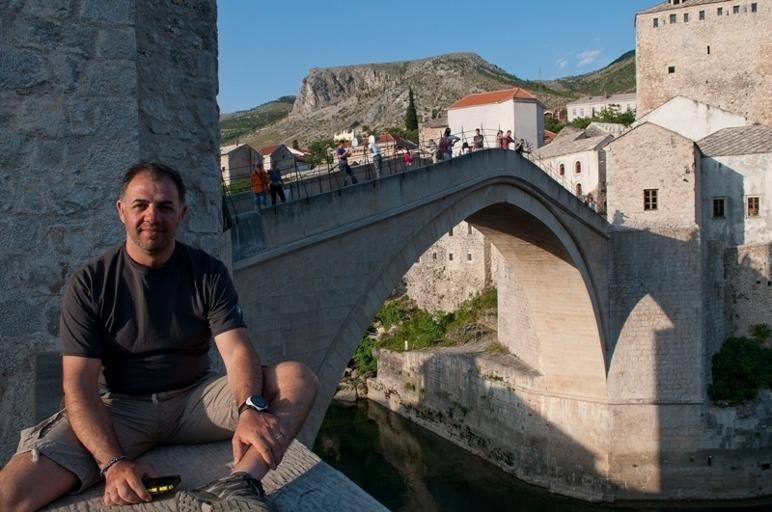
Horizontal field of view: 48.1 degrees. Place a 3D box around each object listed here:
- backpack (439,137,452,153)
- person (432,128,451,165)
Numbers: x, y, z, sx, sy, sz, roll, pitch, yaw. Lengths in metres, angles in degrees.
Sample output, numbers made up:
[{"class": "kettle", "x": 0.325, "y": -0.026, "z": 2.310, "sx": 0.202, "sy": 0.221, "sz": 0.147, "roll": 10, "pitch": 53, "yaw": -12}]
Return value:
[{"class": "backpack", "x": 1.199, "y": -2.195, "z": 17.169, "sx": 0.337, "sy": 0.321, "sz": 0.195, "roll": 2, "pitch": 16, "yaw": 7}, {"class": "person", "x": 1.217, "y": -2.140, "z": 17.351, "sx": 0.342, "sy": 0.888, "sz": 0.252, "roll": -4, "pitch": 38, "yaw": -2}]
